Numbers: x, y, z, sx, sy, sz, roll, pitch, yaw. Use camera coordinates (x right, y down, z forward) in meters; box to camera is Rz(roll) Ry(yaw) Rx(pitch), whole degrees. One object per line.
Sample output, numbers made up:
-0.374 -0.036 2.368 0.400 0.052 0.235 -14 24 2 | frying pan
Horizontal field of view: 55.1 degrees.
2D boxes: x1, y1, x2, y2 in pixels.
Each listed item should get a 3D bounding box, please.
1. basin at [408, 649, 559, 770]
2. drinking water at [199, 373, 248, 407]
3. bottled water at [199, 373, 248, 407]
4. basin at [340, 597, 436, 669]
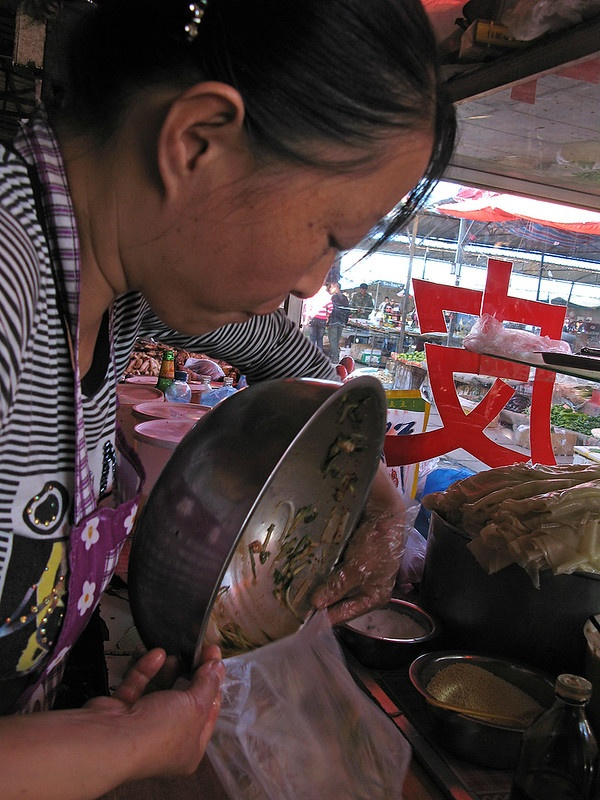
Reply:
0.273 0.480 0.933 0.165 0.055 0.166 -1 -2 0 | basin
-0.270 -0.040 1.914 0.184 0.067 0.069 -13 41 -39 | drinking water
-0.270 -0.040 1.914 0.184 0.067 0.069 -13 41 -39 | bottled water
0.177 0.447 1.130 0.144 0.046 0.135 0 5 0 | basin
